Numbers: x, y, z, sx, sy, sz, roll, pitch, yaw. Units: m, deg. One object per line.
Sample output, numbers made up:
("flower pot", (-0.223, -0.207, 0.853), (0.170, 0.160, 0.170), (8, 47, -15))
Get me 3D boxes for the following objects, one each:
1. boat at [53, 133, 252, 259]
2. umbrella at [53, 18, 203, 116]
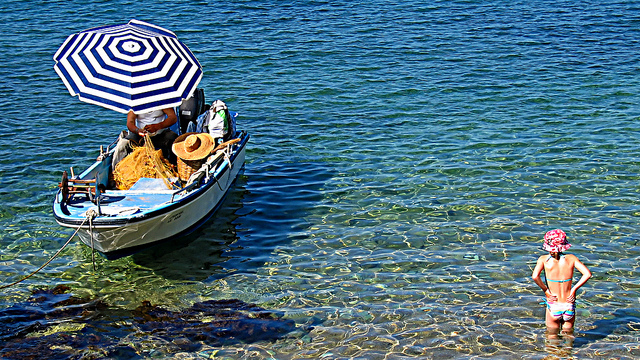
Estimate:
("boat", (-5.497, 0.477, 35.486), (3.586, 3.276, 7.858), (14, 24, 33))
("umbrella", (-6.514, -3.708, 34.010), (4.503, 2.719, 2.625), (-5, 25, -7))
